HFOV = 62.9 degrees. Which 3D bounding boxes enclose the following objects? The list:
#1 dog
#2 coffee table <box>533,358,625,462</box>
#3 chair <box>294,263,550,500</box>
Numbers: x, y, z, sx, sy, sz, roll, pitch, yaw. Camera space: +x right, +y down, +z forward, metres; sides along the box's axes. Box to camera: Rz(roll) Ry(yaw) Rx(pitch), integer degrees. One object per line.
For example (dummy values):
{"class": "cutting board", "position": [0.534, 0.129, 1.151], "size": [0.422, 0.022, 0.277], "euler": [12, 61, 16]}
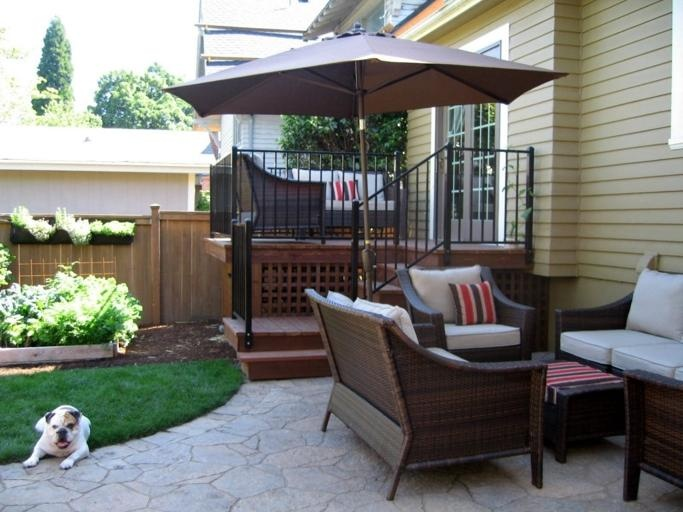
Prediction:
{"class": "dog", "position": [-2.016, 1.242, 3.989], "size": [0.412, 0.342, 0.676], "euler": [2, -2, -24]}
{"class": "coffee table", "position": [1.774, 1.133, 4.349], "size": [0.760, 0.500, 0.989], "euler": [-2, 2, -2]}
{"class": "chair", "position": [0.600, 0.460, 3.879], "size": [1.158, 1.127, 1.867], "euler": [-4, 7, -19]}
